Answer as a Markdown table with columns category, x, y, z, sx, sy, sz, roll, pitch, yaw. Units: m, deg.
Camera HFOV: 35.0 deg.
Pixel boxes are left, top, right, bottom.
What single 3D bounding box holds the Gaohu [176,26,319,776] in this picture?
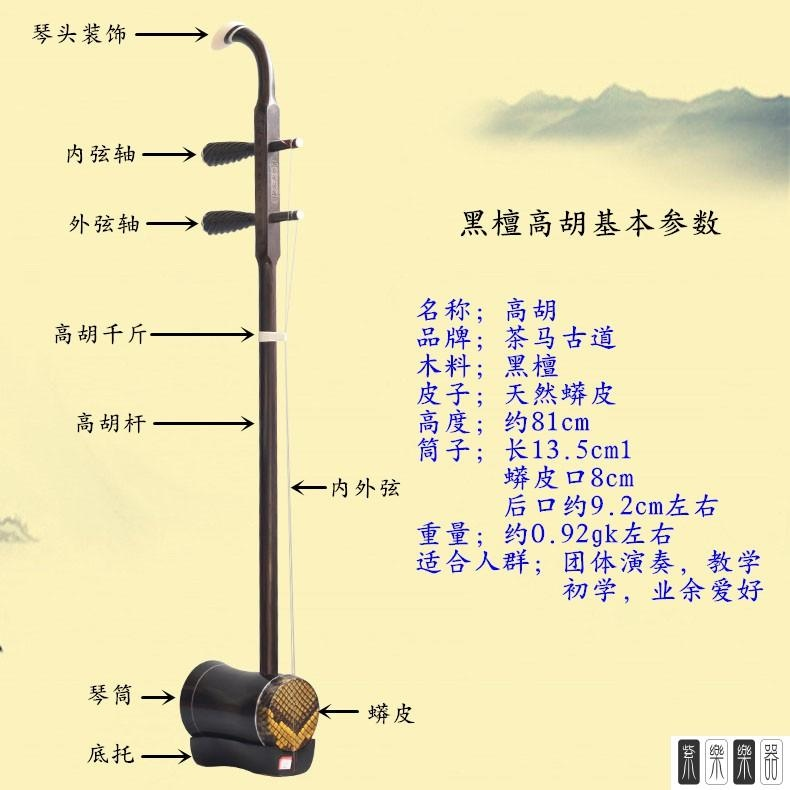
| category | x | y | z | sx | sy | sz | roll | pitch | yaw |
| --- | --- | --- | --- | --- | --- | --- | --- | --- | --- |
| Gaohu | -0.403 | 0.013 | 3.968 | 0.392 | 2.388 | 0.575 | 2 | -3 | -22 |
